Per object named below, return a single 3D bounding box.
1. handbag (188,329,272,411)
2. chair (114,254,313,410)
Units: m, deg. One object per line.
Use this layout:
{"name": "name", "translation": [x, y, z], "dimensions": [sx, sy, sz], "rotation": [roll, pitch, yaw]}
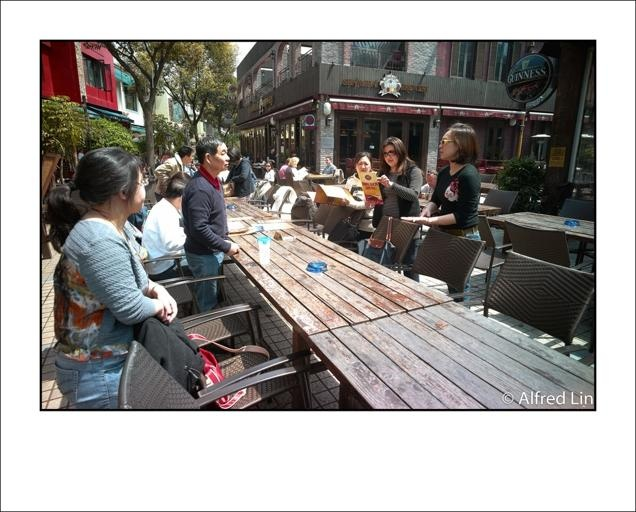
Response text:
{"name": "handbag", "translation": [-0.578, 0.704, 2.850], "dimensions": [0.427, 0.606, 0.399], "rotation": [-23, 41, -28]}
{"name": "chair", "translation": [-0.664, 0.568, 2.618], "dimensions": [0.750, 0.942, 0.687], "rotation": [-13, 29, -27]}
